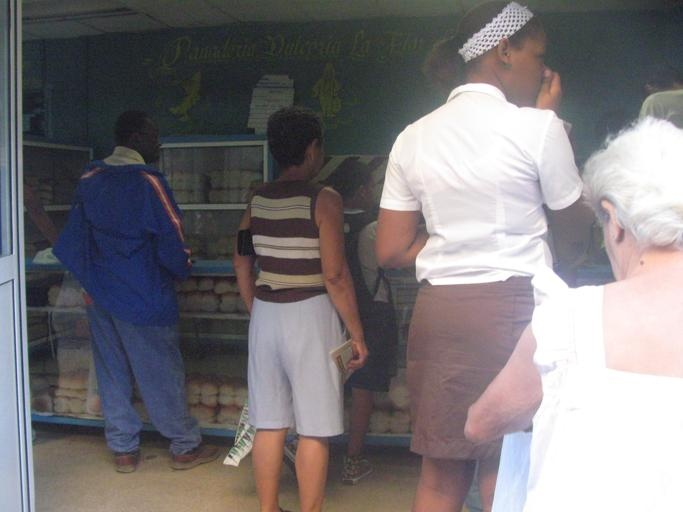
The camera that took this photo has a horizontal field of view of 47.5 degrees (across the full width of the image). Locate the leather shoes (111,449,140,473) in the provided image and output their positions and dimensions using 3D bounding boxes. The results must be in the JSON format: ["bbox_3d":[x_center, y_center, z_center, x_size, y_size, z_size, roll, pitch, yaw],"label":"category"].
[{"bbox_3d":[-1.393,1.303,4.951,0.138,0.109,0.130,-3,-6,12],"label":"leather shoes"}]

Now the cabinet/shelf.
[{"bbox_3d":[-0.798,0.250,4.794,2.260,1.841,0.782,-1,-5,13],"label":"cabinet/shelf"}]

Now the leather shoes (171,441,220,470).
[{"bbox_3d":[-0.964,1.302,5.088,0.131,0.130,0.307,4,7,41],"label":"leather shoes"}]

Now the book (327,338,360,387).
[{"bbox_3d":[0.017,0.561,4.039,0.074,0.195,0.192,3,23,32],"label":"book"}]

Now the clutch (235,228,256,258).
[{"bbox_3d":[-0.530,-0.074,4.198,0.118,0.206,0.153,2,1,-10],"label":"clutch"}]

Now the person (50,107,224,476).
[{"bbox_3d":[-1.287,0.237,4.866,0.842,2.242,0.439,4,14,16],"label":"person"}]

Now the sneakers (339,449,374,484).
[{"bbox_3d":[0.078,1.319,4.821,0.097,0.104,0.247,0,-1,23],"label":"sneakers"}]
